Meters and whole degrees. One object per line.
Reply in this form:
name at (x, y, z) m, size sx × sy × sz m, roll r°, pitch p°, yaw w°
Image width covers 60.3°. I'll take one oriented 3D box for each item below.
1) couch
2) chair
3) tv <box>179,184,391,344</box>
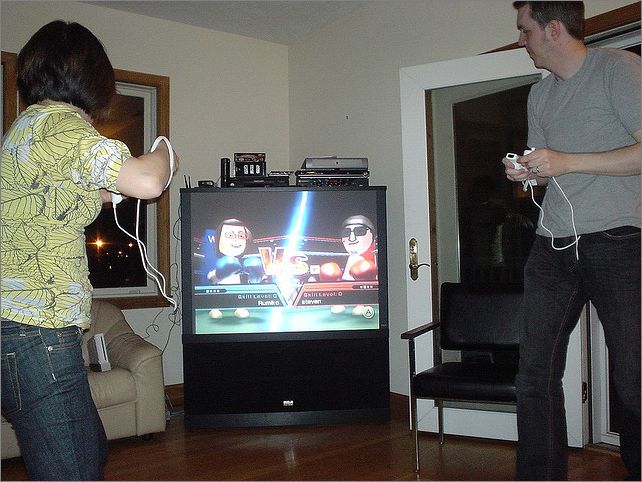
couch at (-1.569, 0.804, 3.622) m, size 0.850 × 0.828 × 0.814 m, roll -3°, pitch 2°, yaw -28°
chair at (0.863, 0.704, 2.979) m, size 0.730 × 0.865 × 0.607 m, roll -5°, pitch 0°, yaw 25°
tv at (-0.262, 0.176, 3.622) m, size 1.106 × 0.746 × 0.116 m, roll 0°, pitch 3°, yaw -3°
